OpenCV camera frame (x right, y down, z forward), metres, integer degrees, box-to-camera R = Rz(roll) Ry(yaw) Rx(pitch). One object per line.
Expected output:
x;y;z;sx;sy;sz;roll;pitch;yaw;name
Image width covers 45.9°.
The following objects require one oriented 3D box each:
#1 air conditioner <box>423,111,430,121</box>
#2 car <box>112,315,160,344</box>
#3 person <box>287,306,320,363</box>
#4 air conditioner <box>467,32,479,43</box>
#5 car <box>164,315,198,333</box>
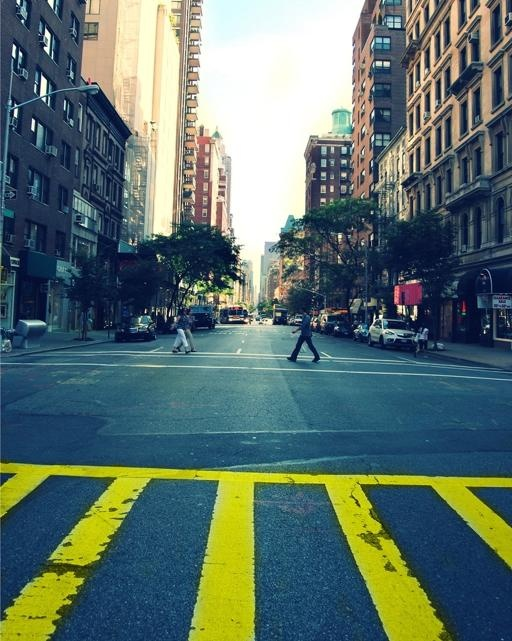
12.281;-14.813;43.565;0.399;0.644;0.818;2;5;5;air conditioner
-6.052;0.377;30.752;1.483;1.306;2.691;2;0;10;car
1.550;0.486;19.510;0.869;1.906;0.636;2;-24;4;person
12.276;-16.072;34.151;0.246;0.465;0.425;20;12;18;air conditioner
-4.480;0.161;35.285;2.151;1.471;1.088;2;-3;-7;car
